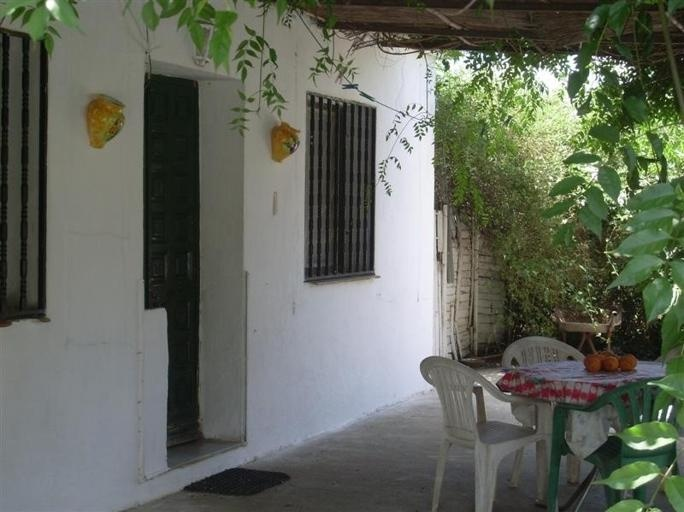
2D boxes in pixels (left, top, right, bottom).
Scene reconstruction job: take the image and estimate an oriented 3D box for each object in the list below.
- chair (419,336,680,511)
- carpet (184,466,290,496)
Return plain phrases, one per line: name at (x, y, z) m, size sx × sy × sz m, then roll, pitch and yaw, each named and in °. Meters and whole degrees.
chair at (1.469, 1.253, 4.033) m, size 1.444 × 1.096 × 1.371 m, roll 0°, pitch -1°, yaw 34°
carpet at (-0.819, 1.795, 4.361) m, size 0.725 × 0.020 × 0.532 m, roll 1°, pitch -1°, yaw 15°
